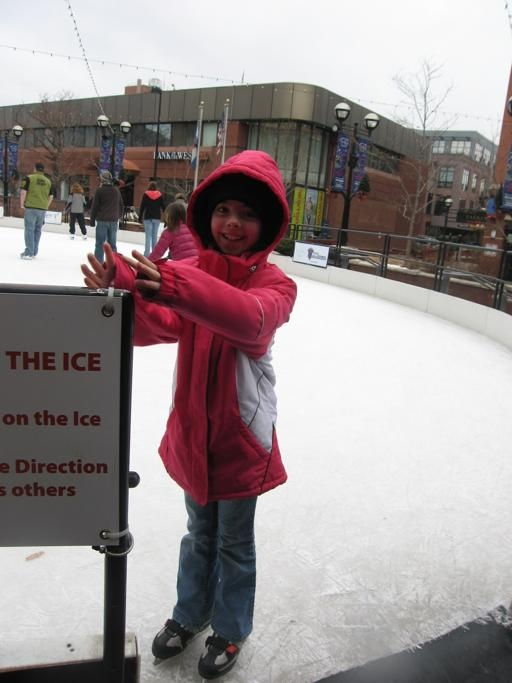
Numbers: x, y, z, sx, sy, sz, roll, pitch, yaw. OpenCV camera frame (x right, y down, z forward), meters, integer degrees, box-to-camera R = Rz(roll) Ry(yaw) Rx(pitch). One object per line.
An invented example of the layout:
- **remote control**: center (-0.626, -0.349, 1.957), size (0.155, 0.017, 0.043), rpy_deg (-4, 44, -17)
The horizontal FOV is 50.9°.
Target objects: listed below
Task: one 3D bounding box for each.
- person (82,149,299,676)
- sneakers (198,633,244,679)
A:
- **person**: center (-0.147, 0.245, 1.413), size (0.465, 1.537, 0.749), rpy_deg (6, 11, 5)
- **sneakers**: center (-0.106, 0.927, 1.571), size (0.059, 0.070, 0.165), rpy_deg (1, -19, 16)
